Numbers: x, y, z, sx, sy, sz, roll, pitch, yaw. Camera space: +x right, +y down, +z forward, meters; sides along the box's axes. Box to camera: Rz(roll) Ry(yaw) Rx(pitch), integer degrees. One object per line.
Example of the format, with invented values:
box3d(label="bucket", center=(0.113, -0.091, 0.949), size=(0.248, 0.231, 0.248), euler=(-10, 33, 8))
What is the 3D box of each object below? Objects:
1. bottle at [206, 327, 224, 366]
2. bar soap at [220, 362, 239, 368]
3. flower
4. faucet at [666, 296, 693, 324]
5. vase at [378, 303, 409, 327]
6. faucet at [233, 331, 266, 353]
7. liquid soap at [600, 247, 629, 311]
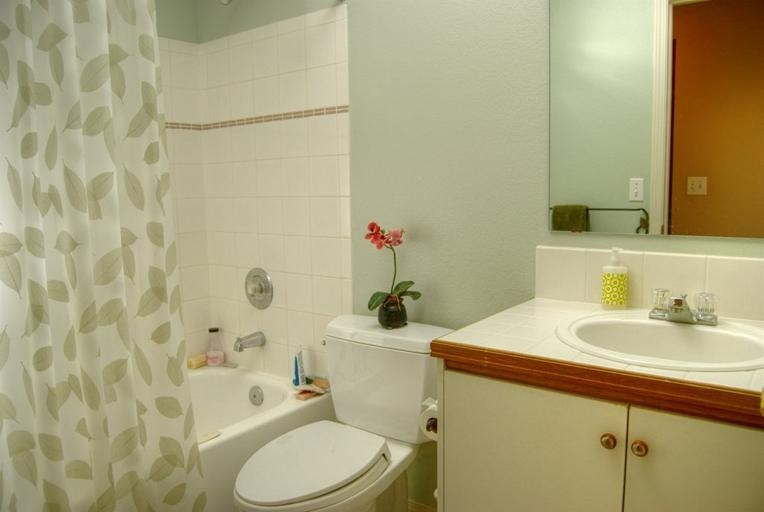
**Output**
box3d(label="bottle", center=(-0.981, 0.535, 3.206), size=(0.096, 0.210, 0.111), euler=(0, 5, -1))
box3d(label="bar soap", center=(-0.884, 0.644, 3.187), size=(0.128, 0.041, 0.036), euler=(-2, -4, 27))
box3d(label="flower", center=(0.054, 0.060, 2.527), size=(0.250, 0.428, 0.290), euler=(0, 5, -2))
box3d(label="faucet", center=(0.990, 0.185, 1.809), size=(0.092, 0.095, 0.079), euler=(3, 9, 36))
box3d(label="vase", center=(0.049, 0.270, 2.440), size=(0.100, 0.089, 0.104), euler=(-1, -7, 8))
box3d(label="faucet", center=(-0.713, 0.475, 2.983), size=(0.209, 0.115, 0.079), euler=(0, -3, -41))
box3d(label="liquid soap", center=(0.859, 0.086, 2.004), size=(0.084, 0.224, 0.059), euler=(-2, 6, -15))
